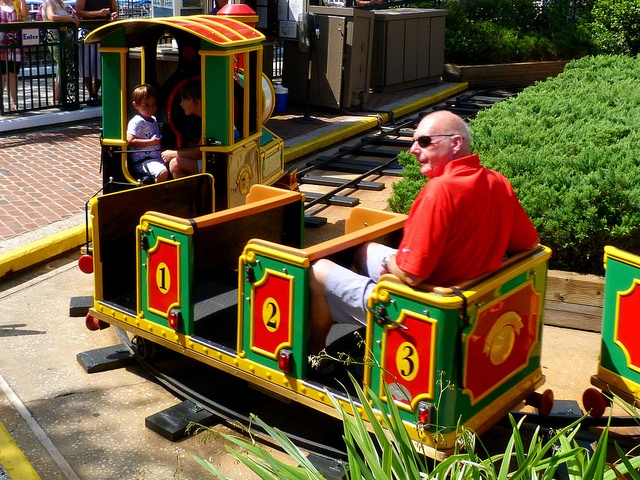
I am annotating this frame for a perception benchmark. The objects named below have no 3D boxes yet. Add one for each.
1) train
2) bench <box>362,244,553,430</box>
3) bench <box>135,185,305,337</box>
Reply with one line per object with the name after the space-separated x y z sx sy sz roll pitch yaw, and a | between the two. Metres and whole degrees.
0.186 -0.169 7.111 5.227 3.871 2.598 14 21 42 | train
0.999 0.676 5.144 1.331 0.984 0.615 -10 19 -31 | bench
-0.833 0.117 6.540 0.671 0.951 1.491 12 19 33 | bench
